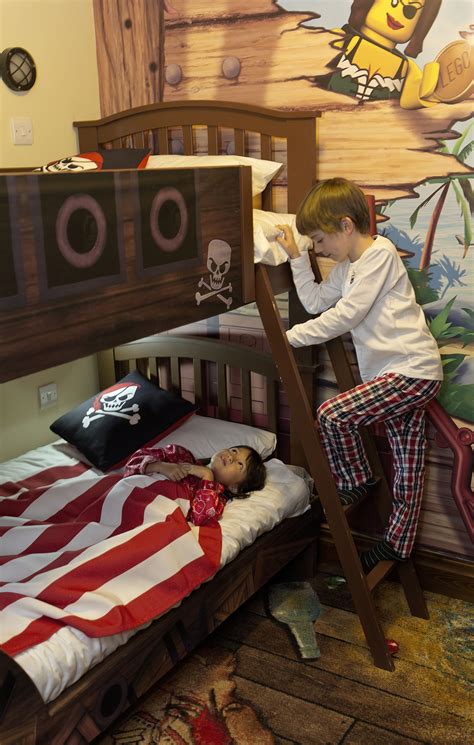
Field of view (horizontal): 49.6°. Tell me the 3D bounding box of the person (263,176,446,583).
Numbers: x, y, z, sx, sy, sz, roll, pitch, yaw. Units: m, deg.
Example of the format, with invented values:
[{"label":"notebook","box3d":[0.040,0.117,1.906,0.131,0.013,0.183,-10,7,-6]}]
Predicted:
[{"label":"person","box3d":[0.379,0.047,1.614,0.501,1.211,0.345,1,6,8]}]
